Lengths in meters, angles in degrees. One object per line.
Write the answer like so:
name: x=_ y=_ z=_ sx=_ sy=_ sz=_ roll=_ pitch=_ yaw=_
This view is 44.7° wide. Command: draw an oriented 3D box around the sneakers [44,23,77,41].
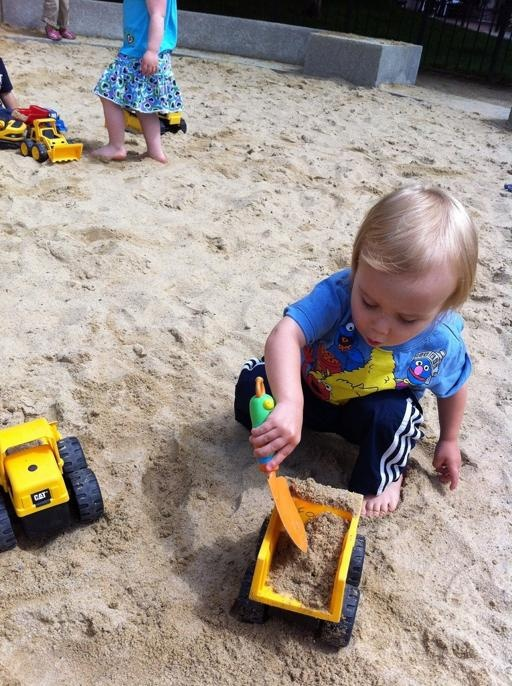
sneakers: x=-2.608 y=-4.071 z=8.253 sx=0.465 sy=0.176 sz=0.243 roll=-4 pitch=61 yaw=-10
